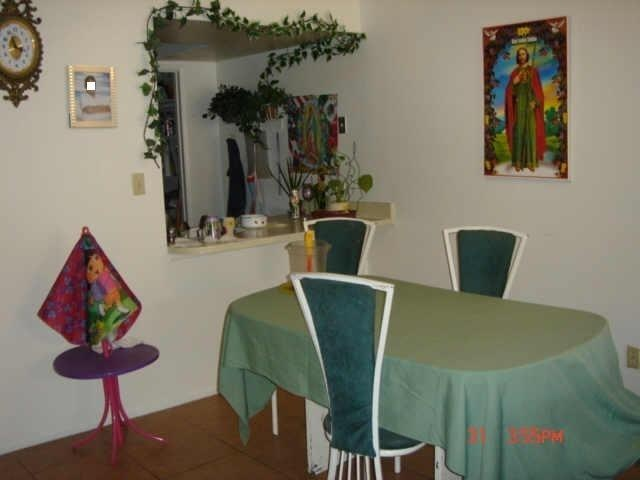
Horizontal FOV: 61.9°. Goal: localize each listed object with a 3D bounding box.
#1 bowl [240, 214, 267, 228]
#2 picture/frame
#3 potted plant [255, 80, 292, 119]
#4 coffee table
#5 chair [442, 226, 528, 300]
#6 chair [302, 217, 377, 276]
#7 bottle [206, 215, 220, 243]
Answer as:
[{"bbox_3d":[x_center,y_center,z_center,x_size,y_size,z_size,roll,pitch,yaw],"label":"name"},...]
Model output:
[{"bbox_3d":[-0.526,-0.145,4.237,0.205,0.099,0.150,-3,10,-12],"label":"bowl"},{"bbox_3d":[-1.358,-0.860,3.176,0.032,0.474,0.324,7,10,42],"label":"picture/frame"},{"bbox_3d":[-0.453,-1.299,5.099,0.308,0.344,0.284,-10,6,-38],"label":"potted plant"},{"bbox_3d":[-1.212,0.886,3.120,0.468,0.613,0.543,1,18,6],"label":"coffee table"},{"bbox_3d":[0.973,0.069,3.120,0.360,0.656,0.393,5,14,24],"label":"chair"},{"bbox_3d":[0.129,-0.003,3.440,0.334,0.561,0.352,2,4,20],"label":"chair"},{"bbox_3d":[-0.738,-0.077,3.775,0.108,0.161,0.227,0,10,10],"label":"bottle"}]
